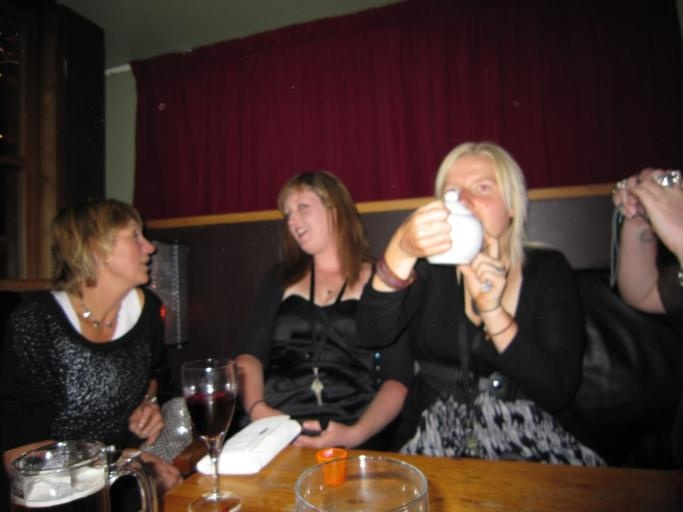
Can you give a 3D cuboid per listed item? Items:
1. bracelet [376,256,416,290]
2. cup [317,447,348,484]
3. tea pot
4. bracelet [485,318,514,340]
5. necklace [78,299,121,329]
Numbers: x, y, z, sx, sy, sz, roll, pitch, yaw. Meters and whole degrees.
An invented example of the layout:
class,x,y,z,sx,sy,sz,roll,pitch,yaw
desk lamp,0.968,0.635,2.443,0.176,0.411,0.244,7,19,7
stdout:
class,x,y,z,sx,sy,sz,roll,pitch,yaw
bracelet,0.191,0.078,2.084,0.100,0.135,0.064,-2,38,34
cup,-0.029,0.575,1.570,0.083,0.076,0.097,-1,-11,2
tea pot,0.319,-0.092,1.984,0.214,0.315,0.223,0,-3,0
bracelet,0.590,0.283,2.138,0.085,0.024,0.082,-33,-30,4
necklace,-1.059,0.265,2.490,0.101,0.109,0.028,1,31,24
